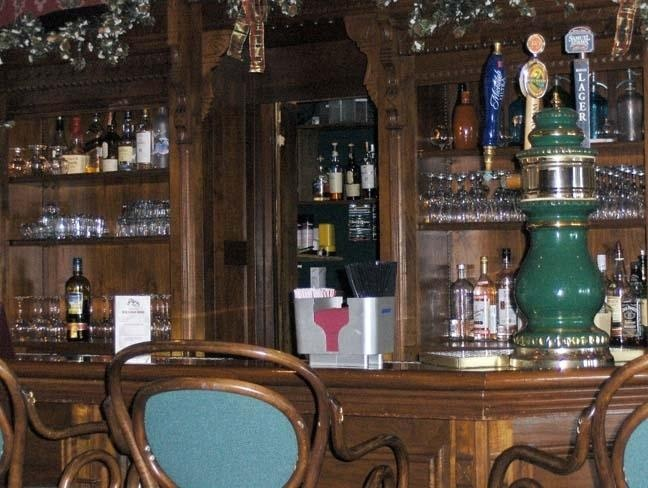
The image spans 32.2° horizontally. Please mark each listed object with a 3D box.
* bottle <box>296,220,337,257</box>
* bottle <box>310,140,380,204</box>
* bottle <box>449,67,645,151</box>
[{"bbox_3d":[-0.056,-0.044,7.022,0.264,0.216,0.150,1,-2,-7],"label":"bottle"},{"bbox_3d":[0.125,-0.412,6.610,0.398,0.399,0.146,-3,-9,21],"label":"bottle"},{"bbox_3d":[1.112,-0.639,5.384,0.802,0.361,0.417,-3,-3,18],"label":"bottle"}]
